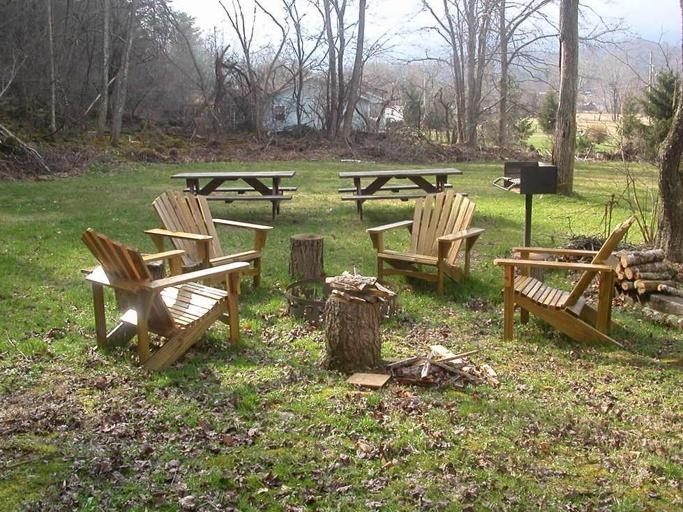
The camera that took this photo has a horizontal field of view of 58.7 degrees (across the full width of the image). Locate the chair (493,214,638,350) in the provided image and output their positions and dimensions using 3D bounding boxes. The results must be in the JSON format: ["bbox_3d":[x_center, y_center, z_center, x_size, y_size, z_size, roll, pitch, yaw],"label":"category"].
[{"bbox_3d":[2.586,0.173,6.830,1.474,1.660,1.207,3,7,24],"label":"chair"}]

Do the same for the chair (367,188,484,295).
[{"bbox_3d":[1.165,-0.239,8.037,1.289,1.196,1.280,2,11,10],"label":"chair"}]
